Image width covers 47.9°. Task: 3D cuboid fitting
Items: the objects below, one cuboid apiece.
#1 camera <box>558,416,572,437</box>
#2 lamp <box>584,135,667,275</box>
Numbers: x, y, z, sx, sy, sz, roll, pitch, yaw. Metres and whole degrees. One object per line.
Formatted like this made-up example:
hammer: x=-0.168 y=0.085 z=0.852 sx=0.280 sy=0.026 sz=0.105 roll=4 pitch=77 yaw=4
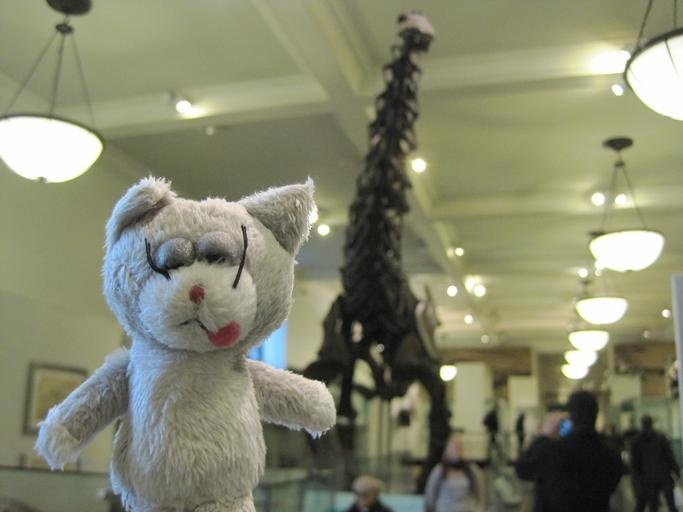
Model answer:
camera: x=0.812 y=0.616 z=2.793 sx=0.043 sy=0.059 sz=0.016 roll=27 pitch=-4 yaw=26
lamp: x=1.249 y=-0.205 z=3.354 sx=0.320 sy=0.645 sz=0.323 roll=-19 pitch=-38 yaw=33
